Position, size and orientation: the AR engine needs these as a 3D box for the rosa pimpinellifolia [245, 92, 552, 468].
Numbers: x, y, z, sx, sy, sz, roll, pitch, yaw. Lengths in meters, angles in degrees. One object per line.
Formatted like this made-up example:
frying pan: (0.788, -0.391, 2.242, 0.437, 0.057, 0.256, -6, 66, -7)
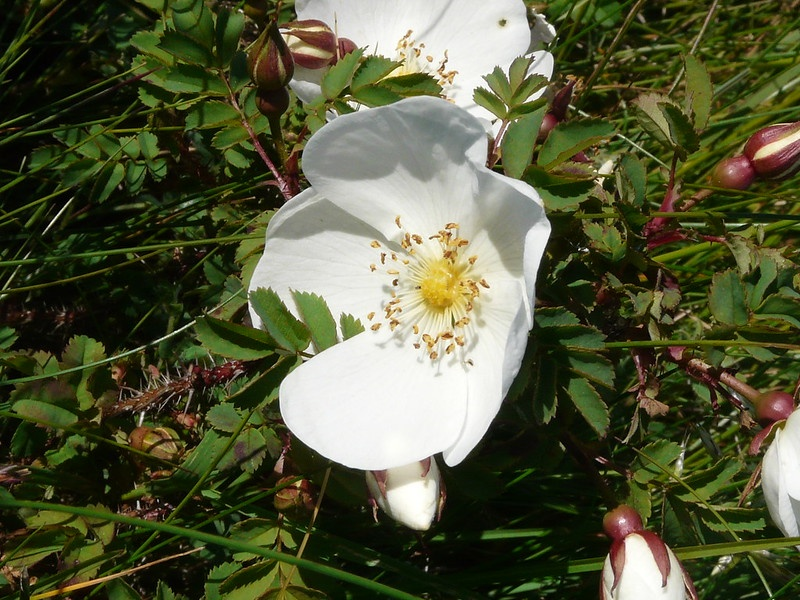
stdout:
rosa pimpinellifolia: (0.131, -0.053, 2.217, 0.881, 0.426, 0.994, 39, 114, 19)
